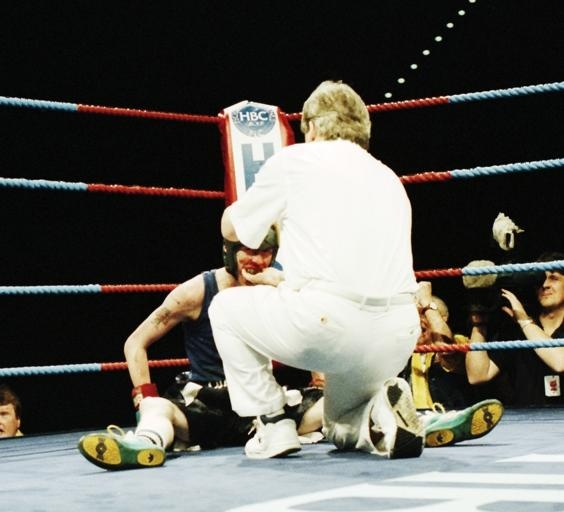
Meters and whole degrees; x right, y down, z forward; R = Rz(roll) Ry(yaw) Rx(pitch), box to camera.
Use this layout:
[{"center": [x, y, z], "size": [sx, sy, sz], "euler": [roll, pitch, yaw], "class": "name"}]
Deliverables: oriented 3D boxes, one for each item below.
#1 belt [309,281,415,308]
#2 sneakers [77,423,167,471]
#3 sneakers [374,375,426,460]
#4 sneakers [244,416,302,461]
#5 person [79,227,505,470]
[{"center": [0.197, 0.098, 1.603], "size": [0.142, 0.029, 0.105], "euler": [8, 3, 11], "class": "belt"}, {"center": [-0.367, 0.459, 1.622], "size": [0.244, 0.083, 0.101], "euler": [16, 18, -31], "class": "sneakers"}, {"center": [0.284, 0.407, 1.649], "size": [0.137, 0.199, 0.113], "euler": [-1, 14, 8], "class": "sneakers"}, {"center": [-0.027, 0.473, 1.714], "size": [0.083, 0.078, 0.179], "euler": [3, -13, -25], "class": "sneakers"}, {"center": [-0.148, 0.313, 2.057], "size": [1.114, 0.593, 1.099], "euler": [3, 6, -21], "class": "person"}]
